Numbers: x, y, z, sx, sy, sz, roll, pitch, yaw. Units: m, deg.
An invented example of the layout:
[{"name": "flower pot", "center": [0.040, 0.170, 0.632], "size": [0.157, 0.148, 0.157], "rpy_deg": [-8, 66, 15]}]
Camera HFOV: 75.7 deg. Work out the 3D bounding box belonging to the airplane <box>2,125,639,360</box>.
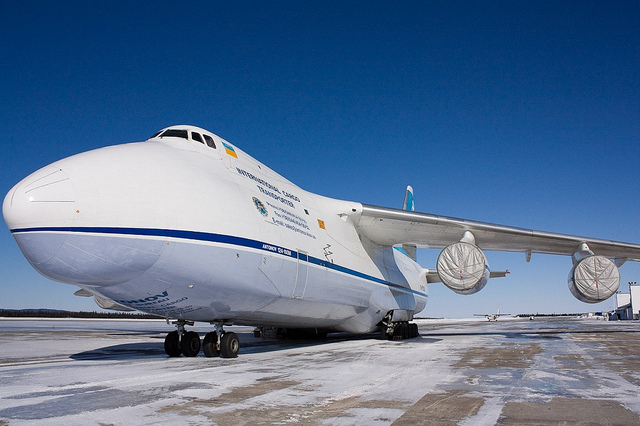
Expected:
[{"name": "airplane", "center": [-0.567, 1.398, 12.085], "size": [13.411, 5.737, 4.764], "rpy_deg": [-5, -2, -29]}]
